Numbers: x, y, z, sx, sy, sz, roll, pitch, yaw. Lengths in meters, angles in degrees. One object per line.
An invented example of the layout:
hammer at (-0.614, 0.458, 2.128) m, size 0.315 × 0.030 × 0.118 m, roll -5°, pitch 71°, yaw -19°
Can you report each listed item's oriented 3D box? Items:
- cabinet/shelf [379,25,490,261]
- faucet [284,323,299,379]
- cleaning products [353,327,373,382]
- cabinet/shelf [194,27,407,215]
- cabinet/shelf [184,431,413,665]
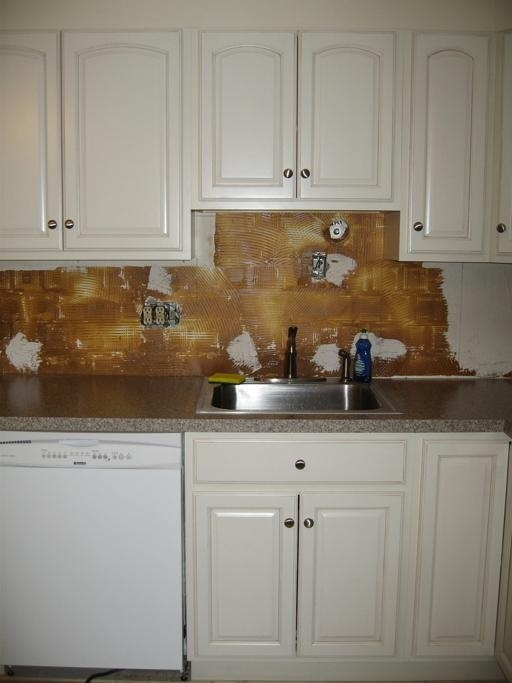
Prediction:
cabinet/shelf at (0.654, -0.639, 2.089) m, size 0.081 × 0.731 × 0.323 m, roll -21°, pitch 29°, yaw -26°
faucet at (0.130, 0.045, 2.352) m, size 0.042 × 0.194 × 0.057 m, roll 0°, pitch 7°, yaw 0°
cleaning products at (0.411, 0.054, 2.379) m, size 0.072 × 0.194 × 0.137 m, roll 1°, pitch 7°, yaw 9°
cabinet/shelf at (0.134, -0.752, 2.033) m, size 0.624 × 0.498 × 0.232 m, roll 0°, pitch 3°, yaw 0°
cabinet/shelf at (0.107, 0.658, 2.040) m, size 0.692 × 0.715 × 0.350 m, roll 2°, pitch -7°, yaw -5°
